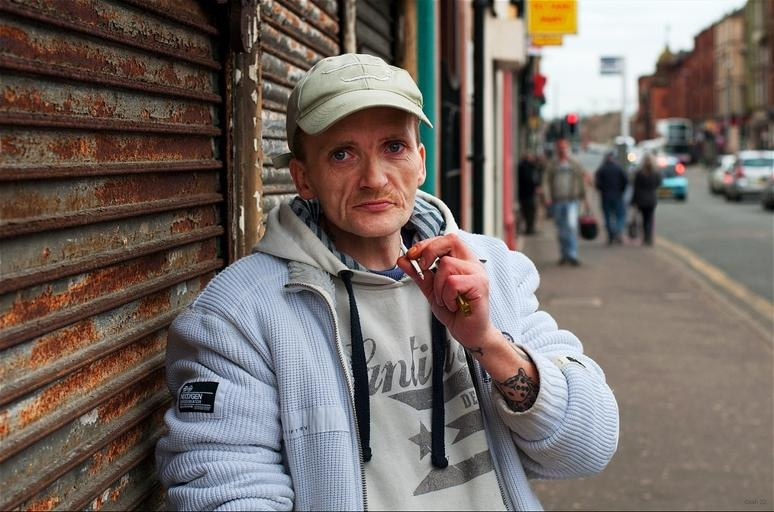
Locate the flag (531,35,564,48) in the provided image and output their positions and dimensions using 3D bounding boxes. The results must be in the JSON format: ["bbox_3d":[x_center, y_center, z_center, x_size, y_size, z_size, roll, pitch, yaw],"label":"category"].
[{"bbox_3d":[0.926,-1.258,4.268,0.104,0.032,0.113,0,4,1],"label":"flag"}]

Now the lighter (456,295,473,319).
[{"bbox_3d":[0.278,0.178,2.672,0.060,0.085,0.060,-3,9,32],"label":"lighter"}]
